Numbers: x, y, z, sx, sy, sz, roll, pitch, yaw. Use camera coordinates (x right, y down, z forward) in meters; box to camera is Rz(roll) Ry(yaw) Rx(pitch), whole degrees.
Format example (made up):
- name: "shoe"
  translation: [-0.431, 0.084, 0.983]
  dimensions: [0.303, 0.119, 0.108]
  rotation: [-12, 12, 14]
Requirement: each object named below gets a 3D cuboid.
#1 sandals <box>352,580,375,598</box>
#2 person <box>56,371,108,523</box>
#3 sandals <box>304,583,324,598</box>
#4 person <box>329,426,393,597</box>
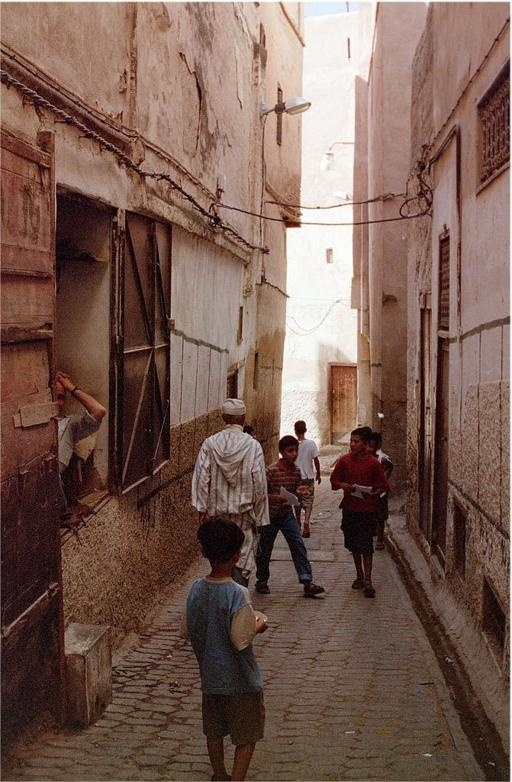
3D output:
- name: "sandals"
  translation: [1.051, 1.906, 5.704]
  dimensions: [0.077, 0.169, 0.307]
  rotation: [1, -12, -5]
- name: "person"
  translation: [-1.000, 0.311, 3.331]
  dimensions: [0.256, 0.852, 1.422]
  rotation: [2, -7, -17]
- name: "sandals"
  translation: [0.555, 1.873, 5.547]
  dimensions: [0.085, 0.153, 0.226]
  rotation: [3, -15, -28]
- name: "person"
  translation: [0.999, 1.156, 5.690]
  dimensions: [0.532, 1.590, 0.592]
  rotation: [0, -5, -1]
